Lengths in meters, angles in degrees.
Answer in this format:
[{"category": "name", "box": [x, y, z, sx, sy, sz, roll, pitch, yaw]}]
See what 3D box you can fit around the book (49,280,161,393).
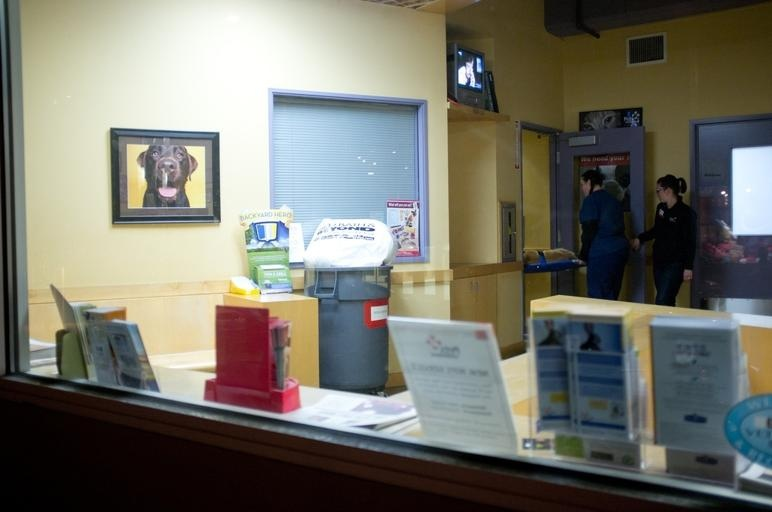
[{"category": "book", "box": [-0.737, 0.213, 1.583, 0.298, 0.273, 0.130, -1, 18, 47]}]
